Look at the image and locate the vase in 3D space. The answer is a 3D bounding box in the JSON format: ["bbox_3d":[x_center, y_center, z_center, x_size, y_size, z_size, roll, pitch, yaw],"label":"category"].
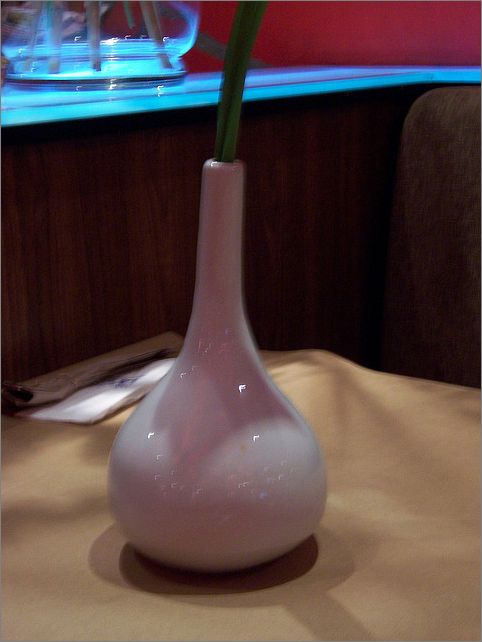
[{"bbox_3d":[-0.013,0.023,0.254,0.103,0.187,0.054,2,9,9],"label":"vase"}]
